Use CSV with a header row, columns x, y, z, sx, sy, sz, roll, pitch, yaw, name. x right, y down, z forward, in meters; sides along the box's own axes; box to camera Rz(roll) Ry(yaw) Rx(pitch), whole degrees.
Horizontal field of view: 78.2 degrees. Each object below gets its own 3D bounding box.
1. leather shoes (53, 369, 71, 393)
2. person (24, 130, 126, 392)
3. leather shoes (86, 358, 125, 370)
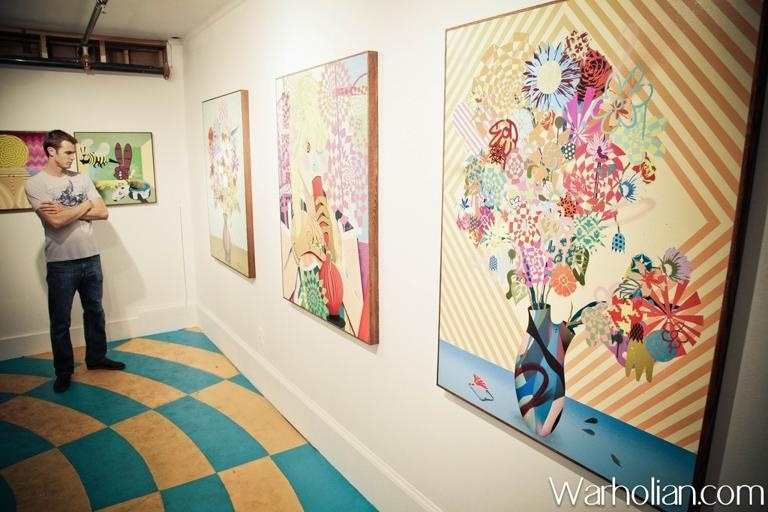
x,y,z,sx,sy,sz,roll,pitch,yaw,name
-2.927,1.142,4.291,0.093,0.111,0.246,5,4,-35,leather shoes
-2.891,0.014,4.391,0.615,2.280,0.486,-6,12,-41,person
-2.739,1.069,4.643,0.336,0.127,0.146,1,3,-8,leather shoes
